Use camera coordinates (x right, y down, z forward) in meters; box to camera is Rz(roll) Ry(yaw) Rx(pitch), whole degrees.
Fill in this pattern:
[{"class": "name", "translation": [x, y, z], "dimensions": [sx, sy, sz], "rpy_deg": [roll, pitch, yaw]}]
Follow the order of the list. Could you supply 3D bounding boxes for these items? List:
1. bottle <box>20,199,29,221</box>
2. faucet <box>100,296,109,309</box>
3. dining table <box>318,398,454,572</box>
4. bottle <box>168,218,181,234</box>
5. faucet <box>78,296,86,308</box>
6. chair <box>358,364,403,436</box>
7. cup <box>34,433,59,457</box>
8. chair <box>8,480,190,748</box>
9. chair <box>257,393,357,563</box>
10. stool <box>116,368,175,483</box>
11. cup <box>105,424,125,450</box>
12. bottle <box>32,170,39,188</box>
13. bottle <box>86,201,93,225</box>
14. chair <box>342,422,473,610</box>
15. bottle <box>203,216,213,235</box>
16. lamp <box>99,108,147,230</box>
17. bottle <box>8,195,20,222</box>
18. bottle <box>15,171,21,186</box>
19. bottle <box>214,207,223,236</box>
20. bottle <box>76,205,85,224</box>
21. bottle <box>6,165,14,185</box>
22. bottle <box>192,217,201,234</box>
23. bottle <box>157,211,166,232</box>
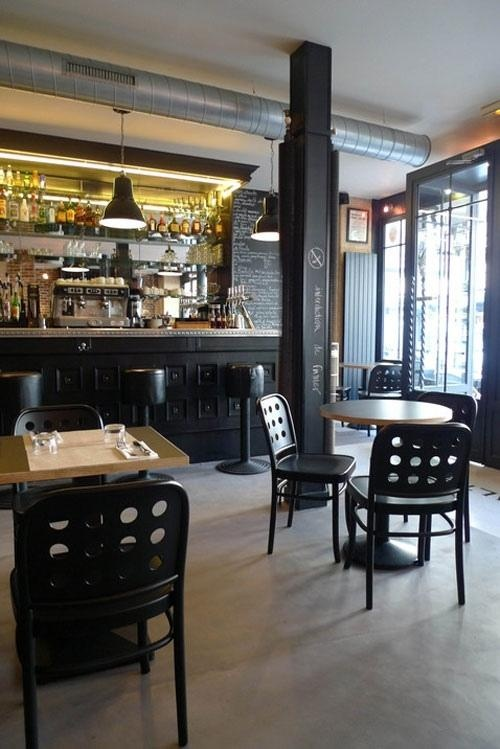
[{"class": "bottle", "translation": [-2.192, -1.579, 5.321], "dimensions": [0.088, 0.244, 0.200], "rpy_deg": [-2, 4, -23]}, {"class": "faucet", "translation": [-1.600, -0.776, 6.044], "dimensions": [0.102, 0.122, 0.099], "rpy_deg": [-1, 4, -11]}, {"class": "dining table", "translation": [0.645, 0.493, 2.704], "dimensions": [0.679, 0.824, 0.719], "rpy_deg": [-2, 3, -2]}, {"class": "bottle", "translation": [-0.864, -1.665, 6.269], "dimensions": [0.103, 0.193, 0.229], "rpy_deg": [1, 4, 18]}, {"class": "faucet", "translation": [-1.835, -0.785, 6.014], "dimensions": [0.070, 0.108, 0.038], "rpy_deg": [-4, -3, -17]}, {"class": "chair", "translation": [1.527, 0.287, 6.257], "dimensions": [0.543, 0.744, 0.537], "rpy_deg": [17, -14, -42]}, {"class": "cup", "translation": [-0.693, 0.240, 1.869], "dimensions": [0.065, 0.052, 0.067], "rpy_deg": [2, 0, 0]}, {"class": "chair", "translation": [-0.318, 0.608, 1.269], "dimensions": [0.402, 0.766, 0.200], "rpy_deg": [-2, 4, -23]}, {"class": "chair", "translation": [0.296, 0.483, 2.789], "dimensions": [0.458, 0.755, 0.422], "rpy_deg": [0, 5, 26]}, {"class": "stool", "translation": [-0.805, 0.339, 4.176], "dimensions": [0.396, 0.813, 0.383], "rpy_deg": [0, 14, -6]}, {"class": "cup", "translation": [-0.474, 0.218, 1.971], "dimensions": [0.074, 0.083, 0.074], "rpy_deg": [2, 8, 0]}, {"class": "bottle", "translation": [-2.150, -1.948, 5.516], "dimensions": [0.061, 0.182, 0.220], "rpy_deg": [-1, 4, -16]}, {"class": "bottle", "translation": [-1.710, -1.693, 5.850], "dimensions": [0.083, 0.265, 0.291], "rpy_deg": [-1, 4, -16]}, {"class": "chair", "translation": [0.658, 0.559, 2.350], "dimensions": [0.409, 0.779, 0.495], "rpy_deg": [0, 8, -2]}, {"class": "bottle", "translation": [-0.510, -1.757, 6.568], "dimensions": [0.104, 0.248, 0.196], "rpy_deg": [0, 4, -4]}, {"class": "lamp", "translation": [-1.101, -1.765, 4.753], "dimensions": [0.327, 1.104, 1.615], "rpy_deg": [-1, 4, -12]}, {"class": "bottle", "translation": [-2.294, -1.616, 5.337], "dimensions": [0.122, 0.226, 0.164], "rpy_deg": [-2, 4, -24]}, {"class": "bottle", "translation": [-2.326, -1.941, 5.502], "dimensions": [0.070, 0.149, 0.072], "rpy_deg": [0, 4, 0]}, {"class": "bottle", "translation": [-0.400, -1.825, 6.669], "dimensions": [0.129, 0.349, 0.248], "rpy_deg": [0, 4, -1]}, {"class": "bottle", "translation": [-1.785, -1.669, 5.766], "dimensions": [0.099, 0.207, 0.140], "rpy_deg": [-1, 4, -18]}, {"class": "bottle", "translation": [-2.378, -1.937, 5.423], "dimensions": [0.060, 0.199, 0.148], "rpy_deg": [-1, 4, -17]}, {"class": "bottle", "translation": [-0.630, -1.709, 6.412], "dimensions": [0.120, 0.190, 0.080], "rpy_deg": [-2, 5, -31]}, {"class": "bottle", "translation": [-1.016, -1.728, 6.343], "dimensions": [0.098, 0.278, 0.377], "rpy_deg": [-1, 4, -9]}]
